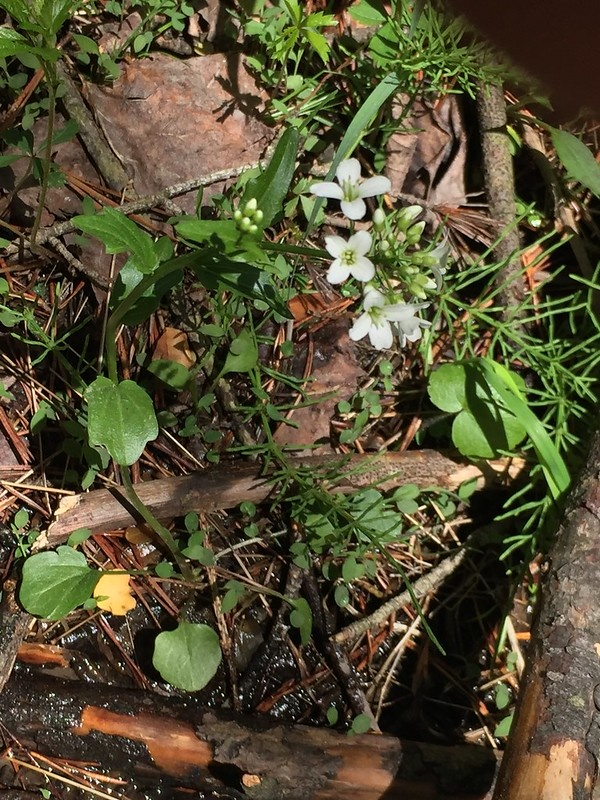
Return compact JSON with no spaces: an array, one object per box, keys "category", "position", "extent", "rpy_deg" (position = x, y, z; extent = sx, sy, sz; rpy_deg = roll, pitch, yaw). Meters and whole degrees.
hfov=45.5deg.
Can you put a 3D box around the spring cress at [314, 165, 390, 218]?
[{"category":"spring cress","position":[0.141,-0.581,1.972],"extent":[0.143,0.164,0.064],"rpy_deg":[-9,95,-44]}]

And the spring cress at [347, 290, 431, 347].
[{"category":"spring cress","position":[0.248,-0.257,2.147],"extent":[0.210,0.186,0.078],"rpy_deg":[-17,53,-5]}]
